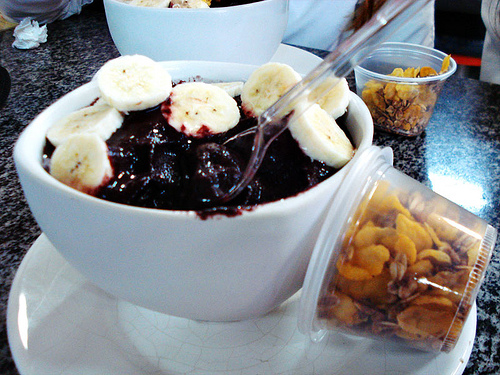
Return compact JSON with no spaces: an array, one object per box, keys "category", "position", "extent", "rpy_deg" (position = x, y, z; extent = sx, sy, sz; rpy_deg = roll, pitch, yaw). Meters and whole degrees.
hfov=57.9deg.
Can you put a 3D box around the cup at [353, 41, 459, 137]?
[{"category":"cup","position":[0.377,-0.231,1.088],"extent":[0.193,0.155,0.213],"rpy_deg":[-13,41,-4]}]

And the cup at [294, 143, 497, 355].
[{"category":"cup","position":[0.217,0.115,0.819],"extent":[0.219,0.314,0.329],"rpy_deg":[20,86,17]}]

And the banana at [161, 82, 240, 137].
[{"category":"banana","position":[-0.087,-0.132,0.719],"extent":[0.103,0.011,0.114],"rpy_deg":[-16,59,-29]}]

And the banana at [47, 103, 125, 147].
[{"category":"banana","position":[-0.272,-0.119,0.716],"extent":[0.110,0.121,0.030],"rpy_deg":[-25,94,-35]}]

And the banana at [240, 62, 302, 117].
[{"category":"banana","position":[0.021,-0.164,0.742],"extent":[0.087,0.024,0.093],"rpy_deg":[-22,60,30]}]

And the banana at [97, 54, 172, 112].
[{"category":"banana","position":[-0.184,-0.171,0.717],"extent":[0.111,0.023,0.106],"rpy_deg":[-11,64,-12]}]

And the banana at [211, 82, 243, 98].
[{"category":"banana","position":[-0.050,-0.172,0.799],"extent":[0.034,0.014,0.037],"rpy_deg":[-2,28,8]}]
